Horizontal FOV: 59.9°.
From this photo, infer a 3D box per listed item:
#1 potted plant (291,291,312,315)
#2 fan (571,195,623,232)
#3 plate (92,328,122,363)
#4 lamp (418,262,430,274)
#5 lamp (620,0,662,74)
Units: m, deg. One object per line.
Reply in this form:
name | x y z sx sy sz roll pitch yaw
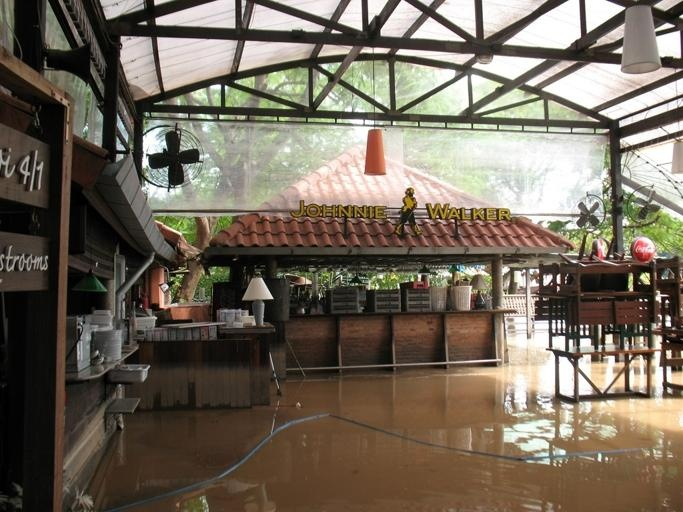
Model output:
potted plant | -0.857 1.024 12.775 0.426 0.302 0.414 0 -4 -3
fan | 6.157 -1.201 14.629 1.531 1.200 0.375 0 38 17
plate | -2.589 0.993 6.603 0.305 0.353 0.312 -1 0 -8
lamp | 2.170 0.307 15.331 0.255 0.267 0.259 3 -4 -18
lamp | 3.647 -2.706 7.232 0.416 0.871 0.385 0 1 26
